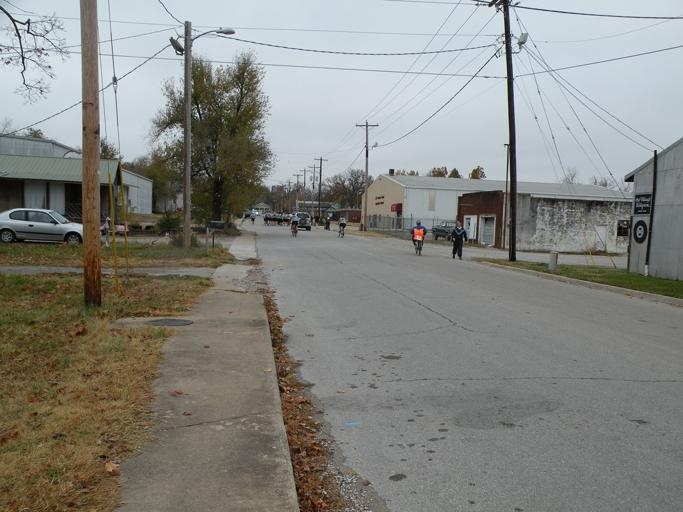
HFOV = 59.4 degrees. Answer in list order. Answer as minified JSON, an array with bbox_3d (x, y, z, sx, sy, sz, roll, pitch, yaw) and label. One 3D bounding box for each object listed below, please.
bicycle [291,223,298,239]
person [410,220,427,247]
[{"bbox_3d":[-3.391,-1.830,42.349,0.484,0.704,1.068,-1,2,-7],"label":"bicycle"},{"bbox_3d":[3.894,-1.060,29.446,0.825,1.066,1.610,1,12,3],"label":"person"}]
